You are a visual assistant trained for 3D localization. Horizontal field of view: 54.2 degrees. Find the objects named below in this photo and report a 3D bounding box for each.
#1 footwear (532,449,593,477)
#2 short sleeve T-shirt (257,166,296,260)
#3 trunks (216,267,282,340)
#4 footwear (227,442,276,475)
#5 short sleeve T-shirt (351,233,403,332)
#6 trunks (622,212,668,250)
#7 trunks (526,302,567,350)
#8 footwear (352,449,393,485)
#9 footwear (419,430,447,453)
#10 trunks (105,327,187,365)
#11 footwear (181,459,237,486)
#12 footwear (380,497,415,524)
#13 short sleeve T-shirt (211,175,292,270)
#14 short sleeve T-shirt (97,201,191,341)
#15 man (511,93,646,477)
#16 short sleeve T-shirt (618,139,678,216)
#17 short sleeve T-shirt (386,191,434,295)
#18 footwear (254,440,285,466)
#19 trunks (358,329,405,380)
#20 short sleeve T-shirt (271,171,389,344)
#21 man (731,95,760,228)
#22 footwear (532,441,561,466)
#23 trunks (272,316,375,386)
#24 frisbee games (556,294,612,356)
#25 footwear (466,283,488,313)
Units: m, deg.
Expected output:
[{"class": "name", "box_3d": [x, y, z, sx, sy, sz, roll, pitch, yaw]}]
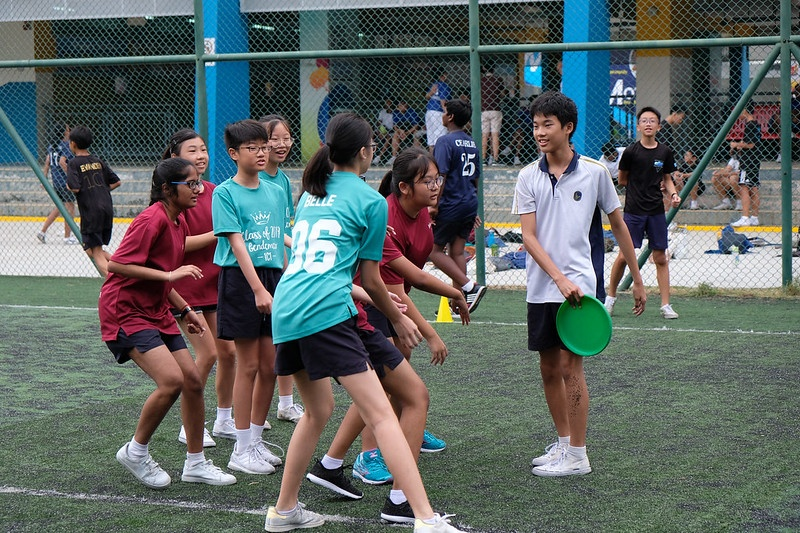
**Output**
[{"class": "footwear", "box_3d": [1.113, 1.310, 5.287, 0.443, 0.193, 0.161, 0, -1, 5]}, {"class": "short sleeve T-shirt", "box_3d": [-0.912, -0.374, 6.355, 0.251, 0.837, 0.350, 5, 24, 9]}, {"class": "trunks", "box_3d": [-1.049, 0.262, 5.388, 0.527, 0.575, 0.362, 2, -6, -41]}, {"class": "footwear", "box_3d": [-1.048, 1.352, 5.521, 0.380, 0.171, 0.145, 6, -1, 11]}, {"class": "short sleeve T-shirt", "box_3d": [-0.140, 0.085, 4.711, 0.279, 0.760, 0.216, -19, 43, -21]}, {"class": "trunks", "box_3d": [2.726, -0.423, 8.648, 0.461, 0.419, 0.267, 1, 11, 18]}, {"class": "trunks", "box_3d": [1.002, 0.399, 5.268, 0.334, 0.319, 0.195, -2, -4, 25]}, {"class": "footwear", "box_3d": [-0.183, 1.358, 5.300, 0.190, 0.183, 0.405, -6, 5, -34]}, {"class": "footwear", "box_3d": [0.174, 1.283, 5.758, 0.315, 0.138, 0.133, 0, -2, 18]}, {"class": "trunks", "box_3d": [-1.672, 0.497, 5.161, 0.369, 0.158, 0.294, -4, -7, -34]}, {"class": "footwear", "box_3d": [-1.285, 1.380, 5.289, 0.410, 0.167, 0.146, 2, 3, -4]}, {"class": "footwear", "box_3d": [-0.009, 1.472, 4.702, 0.277, 0.119, 0.096, 2, -2, 3]}, {"class": "short sleeve T-shirt", "box_3d": [-1.077, -0.312, 5.617, 0.770, 0.717, 0.388, -1, -1, -42]}, {"class": "short sleeve T-shirt", "box_3d": [-1.716, 0.017, 5.221, 0.595, 0.887, 0.353, -6, 11, -23]}, {"class": "man", "box_3d": [1.175, 0.088, 5.329, 0.734, 2.536, 0.721, -2, 10, -1]}, {"class": "short sleeve T-shirt", "box_3d": [2.956, -1.083, 9.340, 0.694, 0.833, 0.331, 2, 14, 10]}, {"class": "short sleeve T-shirt", "box_3d": [0.056, -0.170, 5.116, 0.326, 0.592, 0.618, 8, 13, 16]}, {"class": "footwear", "box_3d": [-0.968, 1.307, 5.581, 0.295, 0.121, 0.099, 16, 12, 34]}, {"class": "trunks", "box_3d": [-0.116, 0.528, 4.642, 0.152, 0.249, 0.195, -15, -27, -39]}, {"class": "short sleeve T-shirt", "box_3d": [-0.412, -0.053, 4.501, 0.677, 0.980, 0.340, -3, 10, -9]}, {"class": "man", "box_3d": [6.710, -2.086, 15.200, 0.694, 2.698, 0.951, 1, 4, 31]}, {"class": "footwear", "box_3d": [1.025, 1.286, 5.369, 0.311, 0.116, 0.101, -9, 4, 1]}, {"class": "trunks", "box_3d": [-0.397, 0.513, 4.565, 0.606, 0.406, 0.350, -12, 4, 31]}, {"class": "frisbee games", "box_3d": [1.194, 0.379, 5.138, 0.451, 0.495, 0.071, -1, -1, 27]}, {"class": "footwear", "box_3d": [0.780, 0.283, 8.043, 0.199, 0.156, 0.450, 27, -28, 3]}]
